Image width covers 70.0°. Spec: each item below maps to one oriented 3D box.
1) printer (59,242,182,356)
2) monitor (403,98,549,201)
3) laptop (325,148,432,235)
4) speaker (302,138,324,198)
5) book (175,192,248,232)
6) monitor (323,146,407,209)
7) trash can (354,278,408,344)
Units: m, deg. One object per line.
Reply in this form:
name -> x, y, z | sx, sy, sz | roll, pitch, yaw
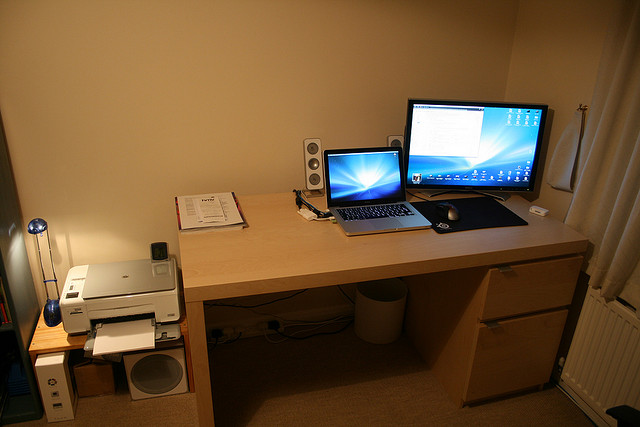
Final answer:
printer -> -1.087, 0.459, 2.514 | 0.621, 0.410, 0.537 | -3, 34, -9
monitor -> 0.916, -0.379, 2.686 | 0.597, 0.439, 0.163 | 3, 26, 0
laptop -> 0.304, -0.133, 2.504 | 0.510, 0.336, 0.412 | -6, 26, -10
speaker -> -0.016, -0.271, 2.745 | 0.141, 0.325, 0.138 | -4, 4, -8
book -> -0.607, -0.010, 2.528 | 0.351, 0.078, 0.371 | -9, 27, -16
monitor -> 0.269, -0.159, 2.489 | 0.497, 0.328, 0.324 | -3, 19, 0
trash can -> 0.400, 0.614, 3.120 | 0.408, 0.442, 0.394 | 7, 30, 8
